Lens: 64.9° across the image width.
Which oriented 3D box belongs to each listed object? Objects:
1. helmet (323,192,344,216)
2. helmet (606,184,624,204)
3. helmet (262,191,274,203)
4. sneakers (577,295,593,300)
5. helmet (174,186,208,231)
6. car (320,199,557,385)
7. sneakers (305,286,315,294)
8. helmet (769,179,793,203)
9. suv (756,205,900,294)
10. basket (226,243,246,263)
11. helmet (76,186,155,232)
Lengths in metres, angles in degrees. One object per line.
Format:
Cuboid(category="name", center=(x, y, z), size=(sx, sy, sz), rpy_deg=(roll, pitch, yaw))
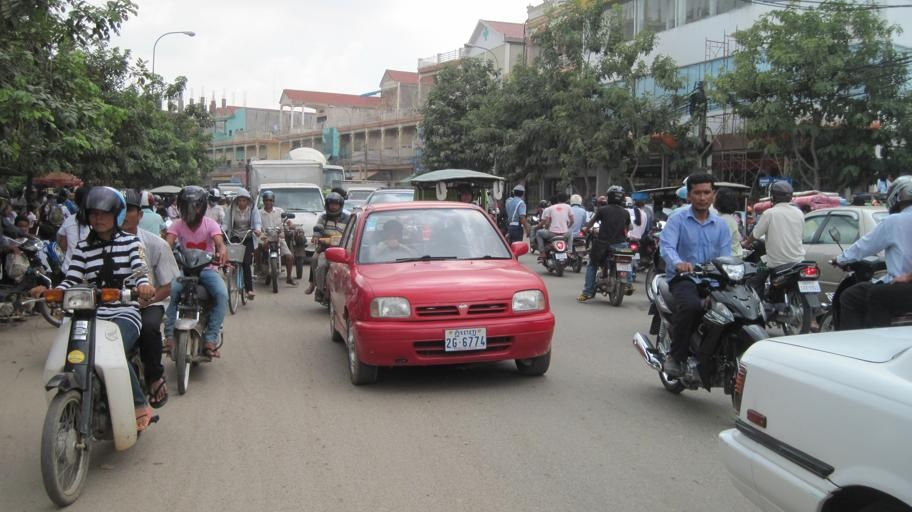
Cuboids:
Cuboid(category="helmet", center=(-2.616, -1.063, 14.946), size=(0.373, 0.472, 0.482), rpy_deg=(1, -4, -3))
Cuboid(category="helmet", center=(3.311, -1.283, 14.932), size=(0.335, 0.367, 0.399), rpy_deg=(3, 1, 12))
Cuboid(category="helmet", center=(-4.300, -1.369, 16.420), size=(0.298, 0.301, 0.370), rpy_deg=(-2, 14, -11))
Cuboid(category="sneakers", center=(2.699, 0.866, 15.034), size=(0.300, 0.124, 0.119), rpy_deg=(-2, 2, 5))
Cuboid(category="helmet", center=(-3.950, -0.790, 10.806), size=(0.420, 0.544, 0.534), rpy_deg=(3, 26, 2))
Cuboid(category="car", center=(-0.493, 0.181, 11.246), size=(2.961, 2.133, 4.781), rpy_deg=(-2, 10, -15))
Cuboid(category="sneakers", center=(-3.002, 0.701, 14.689), size=(0.162, 0.118, 0.287), rpy_deg=(0, 0, 7))
Cuboid(category="helmet", center=(5.167, -1.016, 11.327), size=(0.341, 0.360, 0.378), rpy_deg=(3, -2, 0))
Cuboid(category="suv", center=(6.488, -0.228, 12.863), size=(1.414, 1.101, 2.246), rpy_deg=(-4, 11, -17))
Cuboid(category="basket", center=(-3.663, -0.053, 11.865), size=(0.265, 0.324, 0.323), rpy_deg=(12, 13, 16))
Cuboid(category="helmet", center=(-3.681, -0.593, 7.849), size=(0.461, 0.436, 0.575), rpy_deg=(-2, -21, -3))
